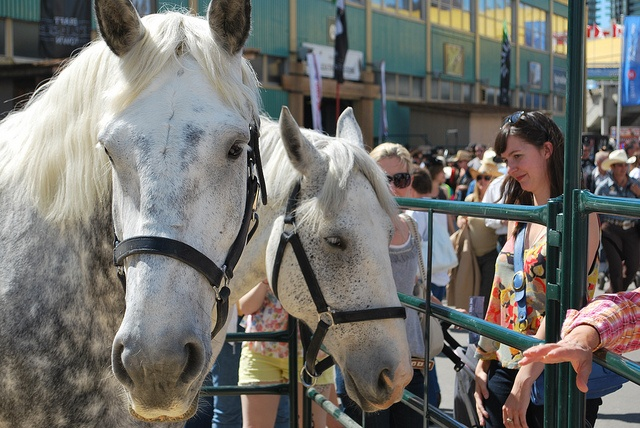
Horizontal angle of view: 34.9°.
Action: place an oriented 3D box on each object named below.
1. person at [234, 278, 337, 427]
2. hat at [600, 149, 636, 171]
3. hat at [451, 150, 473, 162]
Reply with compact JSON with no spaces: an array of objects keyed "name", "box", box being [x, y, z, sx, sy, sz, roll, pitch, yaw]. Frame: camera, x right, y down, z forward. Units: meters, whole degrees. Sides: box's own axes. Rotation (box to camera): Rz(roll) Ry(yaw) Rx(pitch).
[{"name":"person","box":[-0.288,1.155,8.504,1.021,1.737,0.354,1,-10,-15]},{"name":"hat","box":[4.111,-0.755,14.176,0.471,0.278,0.606,-2,0,-8]},{"name":"hat","box":[2.583,-1.023,18.041,0.240,0.247,0.361,-2,-1,5]}]
